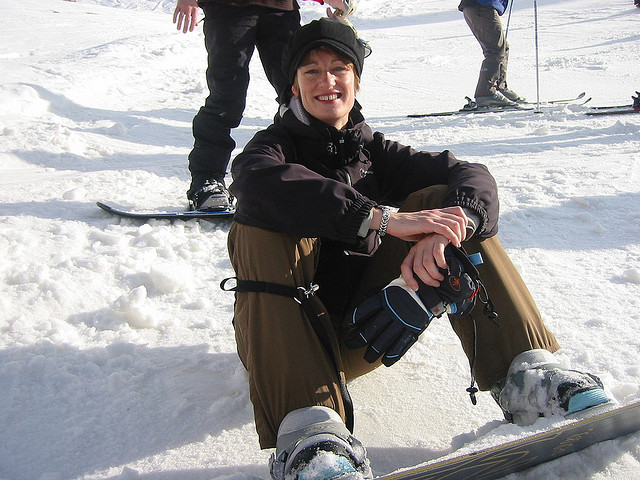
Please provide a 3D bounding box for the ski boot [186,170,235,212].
[{"bbox_3d":[-0.847,-0.365,4.195,0.347,0.330,0.280,0,19,-12],"label":"ski boot"}]

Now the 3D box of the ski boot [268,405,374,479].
[{"bbox_3d":[0.001,0.827,2.132,0.394,0.248,0.293,2,18,-5],"label":"ski boot"}]

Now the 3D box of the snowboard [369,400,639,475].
[{"bbox_3d":[0.781,0.827,2.248,1.231,0.152,0.051,-11,56,-3],"label":"snowboard"}]

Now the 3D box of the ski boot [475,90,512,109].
[{"bbox_3d":[2.725,-2.197,8.677,0.711,0.298,0.200,-5,47,5],"label":"ski boot"}]

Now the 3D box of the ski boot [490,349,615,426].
[{"bbox_3d":[0.982,0.601,2.350,0.312,0.237,0.528,-19,-6,-16],"label":"ski boot"}]
